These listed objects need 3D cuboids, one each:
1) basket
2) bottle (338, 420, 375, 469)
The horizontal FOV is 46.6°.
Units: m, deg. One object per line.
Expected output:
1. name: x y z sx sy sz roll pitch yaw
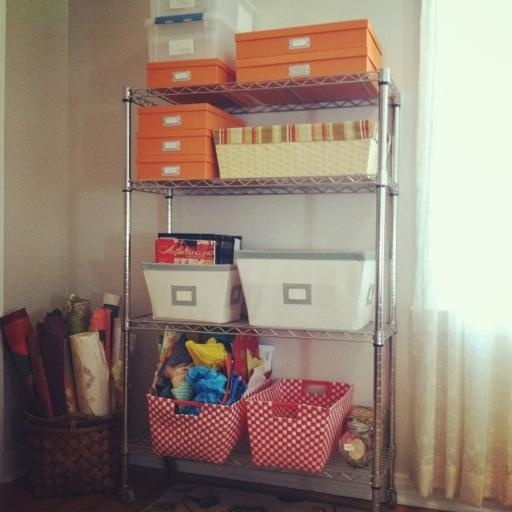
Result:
1. basket: -0.776 0.803 2.583 0.386 0.388 0.249 -1 11 -9
2. bottle: 0.402 0.750 2.397 0.124 0.172 0.078 2 7 16
